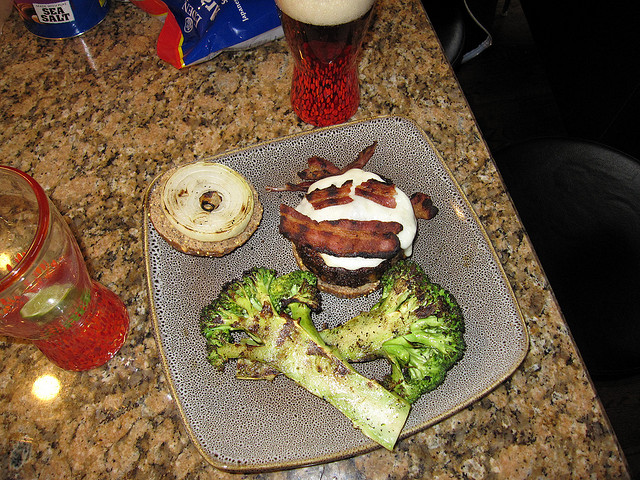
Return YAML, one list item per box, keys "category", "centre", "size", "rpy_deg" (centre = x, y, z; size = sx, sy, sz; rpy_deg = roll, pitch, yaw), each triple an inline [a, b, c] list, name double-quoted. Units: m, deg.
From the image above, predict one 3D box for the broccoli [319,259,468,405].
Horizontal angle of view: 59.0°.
- category: "broccoli"
  centre: [0.169, 0.247, 1.481]
  size: [0.418, 0.201, 0.419]
  rpy_deg: [-5, 31, 10]

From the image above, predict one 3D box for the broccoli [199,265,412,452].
- category: "broccoli"
  centre: [-0.036, 0.315, 1.430]
  size: [0.509, 0.161, 0.354]
  rpy_deg: [34, 72, 16]

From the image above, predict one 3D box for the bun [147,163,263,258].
- category: "bun"
  centre: [-0.320, -0.093, 1.557]
  size: [0.284, 0.084, 0.307]
  rpy_deg: [-8, 41, -30]
